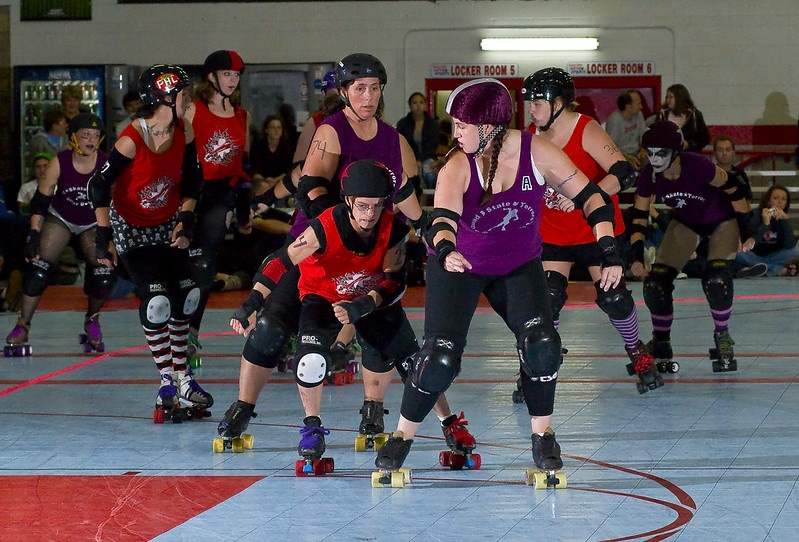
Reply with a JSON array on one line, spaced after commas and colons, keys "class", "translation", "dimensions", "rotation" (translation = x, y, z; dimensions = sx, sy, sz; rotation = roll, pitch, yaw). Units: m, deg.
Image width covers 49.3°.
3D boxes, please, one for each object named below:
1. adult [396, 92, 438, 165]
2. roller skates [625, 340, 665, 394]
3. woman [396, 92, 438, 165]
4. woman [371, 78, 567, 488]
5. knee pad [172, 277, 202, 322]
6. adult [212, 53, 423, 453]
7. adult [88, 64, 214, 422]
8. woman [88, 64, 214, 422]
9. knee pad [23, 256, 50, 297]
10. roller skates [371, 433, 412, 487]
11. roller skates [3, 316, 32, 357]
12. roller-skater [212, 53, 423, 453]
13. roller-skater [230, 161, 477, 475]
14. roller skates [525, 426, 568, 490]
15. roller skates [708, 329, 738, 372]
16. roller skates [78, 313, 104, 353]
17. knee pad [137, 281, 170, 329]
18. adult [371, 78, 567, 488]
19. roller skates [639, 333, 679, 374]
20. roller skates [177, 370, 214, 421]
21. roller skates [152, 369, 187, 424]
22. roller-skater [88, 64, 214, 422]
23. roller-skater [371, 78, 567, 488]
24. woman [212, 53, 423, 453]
[{"class": "adult", "translation": [0.240, -2.128, 13.226], "dimensions": [0.712, 1.158, 0.681], "rotation": [1, 13, 2]}, {"class": "roller skates", "translation": [1.898, 0.758, 6.792], "dimensions": [0.180, 0.239, 0.456], "rotation": [-10, 26, 2]}, {"class": "woman", "translation": [0.245, -2.130, 13.237], "dimensions": [0.721, 1.164, 0.700], "rotation": [3, 11, 16]}, {"class": "woman", "translation": [0.436, 0.050, 4.668], "dimensions": [0.995, 2.159, 0.529], "rotation": [0, 7, 5]}, {"class": "knee pad", "translation": [-1.520, 0.247, 6.317], "dimensions": [0.195, 0.243, 0.251], "rotation": [5, 6, -17]}, {"class": "adult", "translation": [-0.413, -0.114, 5.462], "dimensions": [1.160, 2.561, 1.082], "rotation": [6, -4, -6]}, {"class": "adult", "translation": [-1.745, -0.206, 6.112], "dimensions": [0.735, 2.467, 0.629], "rotation": [-3, 7, -16]}, {"class": "woman", "translation": [-1.741, -0.206, 6.114], "dimensions": [0.741, 2.467, 0.633], "rotation": [-3, 7, -16]}, {"class": "knee pad", "translation": [-3.499, 0.060, 8.448], "dimensions": [0.238, 0.360, 0.126], "rotation": [16, 3, 7]}, {"class": "roller skates", "translation": [-0.046, 1.046, 4.730], "dimensions": [0.122, 0.196, 0.400], "rotation": [-1, -3, 9]}, {"class": "roller skates", "translation": [-3.653, 0.639, 8.297], "dimensions": [0.255, 0.334, 0.303], "rotation": [-4, 8, -25]}, {"class": "roller-skater", "translation": [-0.429, -0.068, 5.647], "dimensions": [1.254, 2.701, 1.201], "rotation": [5, 11, -5]}, {"class": "roller-skater", "translation": [-0.333, 0.236, 5.145], "dimensions": [1.398, 1.789, 0.923], "rotation": [-9, 14, -40]}, {"class": "roller skates", "translation": [0.812, 1.060, 4.825], "dimensions": [0.185, 0.285, 0.470], "rotation": [-3, -6, 2]}, {"class": "roller skates", "translation": [2.730, 0.671, 7.315], "dimensions": [0.221, 0.309, 0.437], "rotation": [-4, 22, 14]}, {"class": "roller skates", "translation": [-2.991, 0.598, 8.504], "dimensions": [0.214, 0.343, 0.429], "rotation": [3, 17, -30]}, {"class": "knee pad", "translation": [-1.714, 0.241, 6.102], "dimensions": [0.224, 0.335, 0.183], "rotation": [-3, 7, -17]}, {"class": "adult", "translation": [0.435, 0.050, 4.670], "dimensions": [0.992, 2.159, 0.538], "rotation": [0, 7, 6]}, {"class": "roller skates", "translation": [2.209, 0.691, 7.318], "dimensions": [0.195, 0.341, 0.484], "rotation": [0, 12, 6]}, {"class": "roller skates", "translation": [-1.493, 0.887, 6.182], "dimensions": [0.145, 0.248, 0.422], "rotation": [-6, 8, -36]}, {"class": "roller skates", "translation": [-1.611, 0.876, 6.050], "dimensions": [0.202, 0.334, 0.204], "rotation": [-3, 7, -15]}, {"class": "roller-skater", "translation": [-1.745, -0.206, 6.112], "dimensions": [0.735, 2.467, 0.629], "rotation": [-3, 7, -16]}, {"class": "roller-skater", "translation": [0.437, 0.050, 4.669], "dimensions": [0.995, 2.159, 0.527], "rotation": [0, 7, 5]}, {"class": "woman", "translation": [-0.460, -0.095, 5.556], "dimensions": [1.215, 2.640, 1.153], "rotation": [5, 5, -10]}]
